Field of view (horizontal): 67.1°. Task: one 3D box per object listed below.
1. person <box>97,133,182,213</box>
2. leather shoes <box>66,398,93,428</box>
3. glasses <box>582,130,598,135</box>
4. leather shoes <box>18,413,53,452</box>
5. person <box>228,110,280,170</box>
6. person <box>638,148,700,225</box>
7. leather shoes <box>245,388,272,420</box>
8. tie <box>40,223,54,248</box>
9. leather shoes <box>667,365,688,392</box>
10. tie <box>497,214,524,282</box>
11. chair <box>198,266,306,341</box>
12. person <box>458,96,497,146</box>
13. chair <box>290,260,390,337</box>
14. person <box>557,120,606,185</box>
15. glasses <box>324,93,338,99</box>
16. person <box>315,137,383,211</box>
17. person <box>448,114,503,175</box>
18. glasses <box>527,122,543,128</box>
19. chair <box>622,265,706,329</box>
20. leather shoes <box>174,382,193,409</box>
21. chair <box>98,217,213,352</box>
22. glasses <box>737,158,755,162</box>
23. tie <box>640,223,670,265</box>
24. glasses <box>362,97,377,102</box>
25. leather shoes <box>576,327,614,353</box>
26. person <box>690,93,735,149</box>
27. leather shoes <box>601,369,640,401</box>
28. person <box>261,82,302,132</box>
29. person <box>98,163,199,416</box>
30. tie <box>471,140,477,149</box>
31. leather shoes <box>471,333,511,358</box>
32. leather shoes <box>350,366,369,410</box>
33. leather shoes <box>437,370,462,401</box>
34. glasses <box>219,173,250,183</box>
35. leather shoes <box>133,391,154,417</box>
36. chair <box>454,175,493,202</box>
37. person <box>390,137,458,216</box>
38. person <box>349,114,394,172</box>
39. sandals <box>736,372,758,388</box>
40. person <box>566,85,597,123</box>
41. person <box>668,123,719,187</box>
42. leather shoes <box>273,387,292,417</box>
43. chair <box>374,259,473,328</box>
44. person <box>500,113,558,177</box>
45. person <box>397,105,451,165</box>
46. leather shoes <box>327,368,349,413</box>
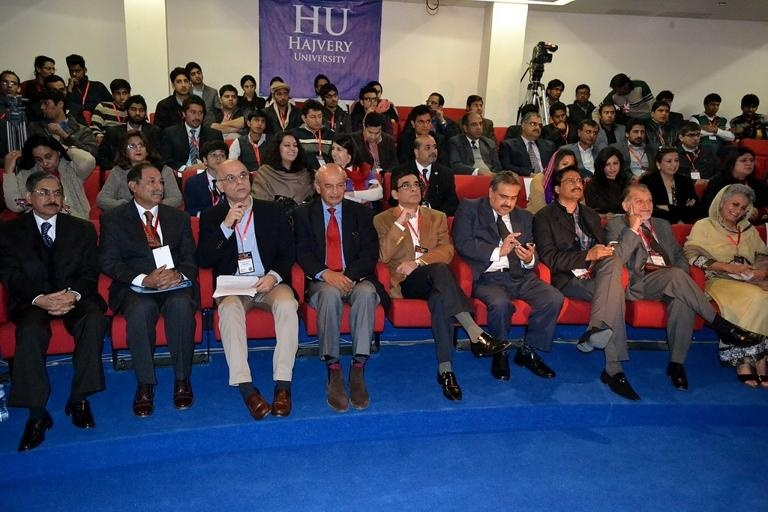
[{"bbox_3d":[-2.263,-0.773,5.333,0.777,0.714,0.465,-8,28,-26],"label":"person"},{"bbox_3d":[-2.046,1.051,3.946,0.272,0.117,0.110,22,8,40],"label":"leather shoes"},{"bbox_3d":[2.409,-1.436,6.769,0.141,0.061,0.052,-3,15,-14],"label":"glasses"},{"bbox_3d":[-2.250,1.136,3.778,0.107,0.122,0.285,4,21,-3],"label":"leather shoes"},{"bbox_3d":[-1.399,-1.232,6.338,0.817,0.698,0.450,-3,10,-20],"label":"person"},{"bbox_3d":[2.895,-0.682,5.876,0.519,0.799,0.599,0,9,6],"label":"person"},{"bbox_3d":[-0.889,1.024,4.052,0.106,0.097,0.269,-25,40,-18],"label":"leather shoes"},{"bbox_3d":[-2.495,-0.153,4.279,0.103,0.166,0.043,-23,9,-37],"label":"tie"},{"bbox_3d":[2.329,0.945,4.590,0.164,0.160,0.196,8,17,27],"label":"leather shoes"},{"bbox_3d":[1.036,-0.075,4.946,0.282,0.385,0.116,-12,-1,-14],"label":"tie"},{"bbox_3d":[-0.889,0.463,4.334,0.584,0.405,0.624,-2,18,-8],"label":"chair"},{"bbox_3d":[1.330,-1.908,8.426,0.602,0.831,0.465,-2,7,-21],"label":"person"},{"bbox_3d":[-0.365,0.310,4.595,0.528,0.528,0.585,-1,4,-9],"label":"chair"},{"bbox_3d":[2.411,-1.140,6.923,0.525,0.904,0.420,-1,1,-16],"label":"person"},{"bbox_3d":[-0.696,-2.109,7.605,0.184,0.077,0.107,-5,16,-21],"label":"glasses"},{"bbox_3d":[-0.298,-0.664,5.968,0.538,1.069,0.628,-3,-2,-23],"label":"person"},{"bbox_3d":[1.122,-1.322,6.964,0.687,0.803,0.739,-3,7,-26],"label":"person"},{"bbox_3d":[1.811,-1.578,6.977,0.135,0.062,0.021,-3,15,-12],"label":"glasses"},{"bbox_3d":[2.203,0.328,4.590,0.469,0.307,0.450,1,-4,-1],"label":"chair"},{"bbox_3d":[-1.415,0.976,4.077,0.132,0.172,0.124,-5,16,-19],"label":"leather shoes"},{"bbox_3d":[-1.629,0.178,4.716,0.916,1.259,1.067,-1,4,-16],"label":"chair"},{"bbox_3d":[3.697,-0.984,5.926,0.082,0.031,0.069,-2,1,-13],"label":"glasses"},{"bbox_3d":[2.320,-0.096,5.030,0.236,0.384,0.098,-10,-20,-19],"label":"tie"},{"bbox_3d":[-0.192,-2.089,7.691,0.181,0.069,0.119,0,15,-2],"label":"glasses"},{"bbox_3d":[1.642,0.670,4.570,0.154,0.238,0.087,30,41,-18],"label":"leather shoes"},{"bbox_3d":[4.980,-1.994,8.767,0.583,0.881,0.681,1,13,6],"label":"person"},{"bbox_3d":[1.806,0.982,4.455,0.156,0.139,0.326,-5,16,-21],"label":"leather shoes"},{"bbox_3d":[-1.318,-1.835,7.530,0.547,0.814,0.432,-3,14,-12],"label":"person"},{"bbox_3d":[-1.676,0.187,4.232,0.679,1.629,0.951,-7,17,-26],"label":"person"},{"bbox_3d":[1.096,-1.357,7.062,0.080,0.079,0.023,1,-8,-20],"label":"tie"},{"bbox_3d":[0.784,0.679,4.367,0.289,0.141,0.155,-11,13,28],"label":"leather shoes"},{"bbox_3d":[-0.184,0.948,4.201,0.135,0.220,0.273,0,15,-3],"label":"leather shoes"},{"bbox_3d":[0.476,0.958,4.312,0.094,0.107,0.257,-5,24,-17],"label":"leather shoes"},{"bbox_3d":[-1.142,-0.607,4.431,0.224,0.094,0.145,-5,16,-19],"label":"glasses"},{"bbox_3d":[-1.673,1.009,4.020,0.134,0.154,0.179,-6,16,-22],"label":"leather shoes"},{"bbox_3d":[0.913,-0.721,6.010,0.359,0.351,0.342,2,19,2],"label":"chair"},{"bbox_3d":[0.369,-0.707,5.792,0.662,0.995,0.792,3,6,17],"label":"person"},{"bbox_3d":[-0.132,-1.261,6.601,0.543,0.751,0.485,-7,43,-7],"label":"person"},{"bbox_3d":[2.940,0.997,4.680,0.142,0.077,0.109,5,16,16],"label":"sandals"},{"bbox_3d":[2.970,-2.155,8.670,0.493,0.808,0.439,0,-1,17],"label":"person"},{"bbox_3d":[3.885,-1.280,7.223,0.576,0.805,0.639,-1,1,18],"label":"person"},{"bbox_3d":[-0.713,1.027,4.024,0.082,0.089,0.224,1,14,-7],"label":"leather shoes"},{"bbox_3d":[0.309,0.309,4.533,0.522,0.535,0.712,1,-2,-6],"label":"chair"},{"bbox_3d":[1.824,-1.379,7.194,0.812,0.753,0.481,-4,15,-20],"label":"person"},{"bbox_3d":[0.464,-1.499,7.159,0.664,0.793,0.982,-2,13,-5],"label":"person"},{"bbox_3d":[-0.335,0.950,4.174,0.155,0.225,0.285,-1,15,-5],"label":"leather shoes"}]
